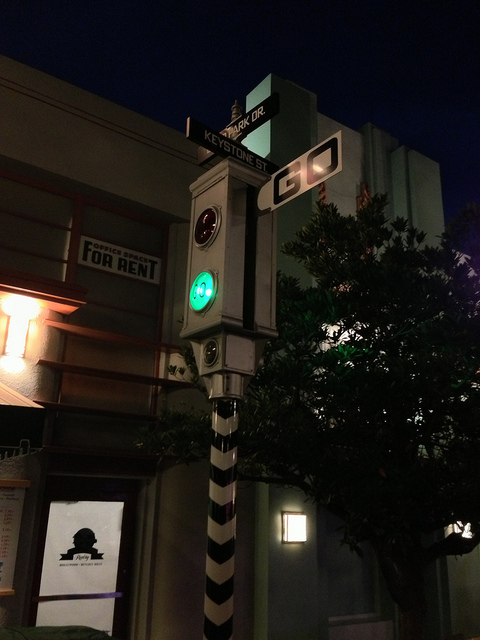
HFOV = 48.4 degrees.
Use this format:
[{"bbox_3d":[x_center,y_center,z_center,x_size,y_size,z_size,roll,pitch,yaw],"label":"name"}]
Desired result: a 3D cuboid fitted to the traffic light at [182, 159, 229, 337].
[{"bbox_3d":[-0.162,-0.358,2.534,0.121,0.916,0.503,9,-19,-21],"label":"traffic light"}]
